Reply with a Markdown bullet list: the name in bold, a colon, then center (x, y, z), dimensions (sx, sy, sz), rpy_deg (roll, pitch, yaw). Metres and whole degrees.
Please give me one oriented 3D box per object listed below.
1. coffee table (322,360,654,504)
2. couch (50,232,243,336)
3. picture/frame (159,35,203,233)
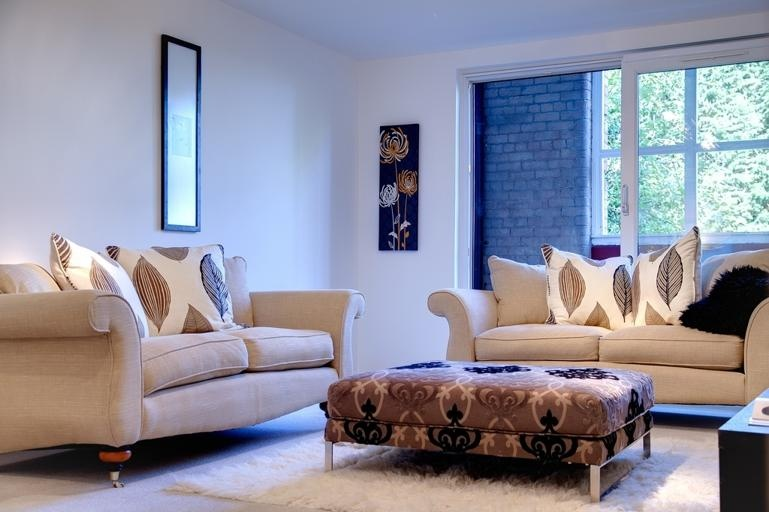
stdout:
- **coffee table**: center (0.512, 0.824, 2.931), dimensions (1.555, 0.494, 0.620), rpy_deg (-2, -3, 19)
- **couch**: center (-1.390, 0.177, 3.401), dimensions (0.194, 0.373, 0.624), rpy_deg (-37, -33, 27)
- **picture/frame**: center (-1.564, -0.928, 4.467), dimensions (0.050, 1.465, 0.329), rpy_deg (-2, -2, 36)
